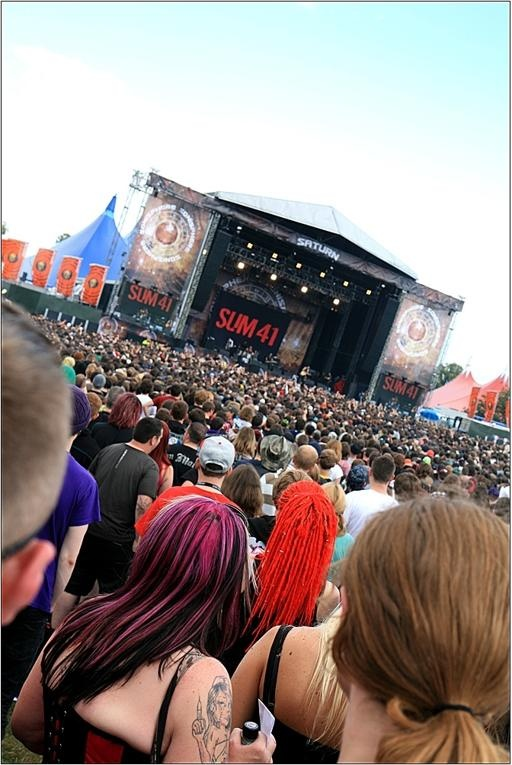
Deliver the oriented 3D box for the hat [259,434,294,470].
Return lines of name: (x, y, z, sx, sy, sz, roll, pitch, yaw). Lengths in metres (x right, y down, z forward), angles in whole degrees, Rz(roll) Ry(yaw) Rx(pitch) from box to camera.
hat: (0.181, 0.644, 4.365, 0.281, 0.296, 0.090, -1, -21, -5)

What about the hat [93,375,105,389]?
hat: (-2.012, -0.018, 6.176, 0.134, 0.168, 0.175, 7, -35, -24)

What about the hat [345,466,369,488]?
hat: (0.993, 0.991, 5.037, 0.285, 0.242, 0.384, 5, -9, 4)
